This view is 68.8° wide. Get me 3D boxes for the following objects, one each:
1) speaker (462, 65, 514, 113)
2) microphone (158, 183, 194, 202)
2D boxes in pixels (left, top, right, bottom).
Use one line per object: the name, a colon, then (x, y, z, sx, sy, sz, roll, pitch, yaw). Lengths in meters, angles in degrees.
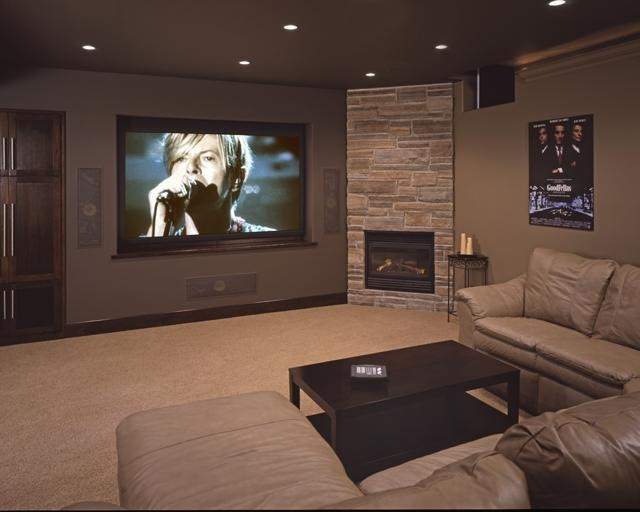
speaker: (1.896, -1.850, 5.212, 0.390, 0.484, 0.723, -9, 14, -25)
microphone: (-1.709, -0.739, 5.506, 0.395, 0.199, 0.048, -6, 12, -32)
